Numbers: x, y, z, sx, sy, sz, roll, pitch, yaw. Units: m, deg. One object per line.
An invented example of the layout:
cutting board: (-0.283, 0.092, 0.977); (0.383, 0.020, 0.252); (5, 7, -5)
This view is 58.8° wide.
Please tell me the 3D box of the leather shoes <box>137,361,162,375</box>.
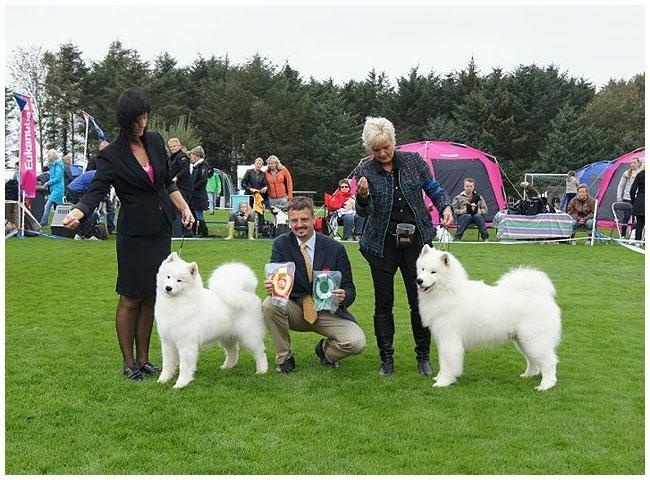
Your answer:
leather shoes: (-1.914, 1.382, 6.253); (0.288, 0.130, 0.111); (10, 18, 11)

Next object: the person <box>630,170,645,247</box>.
person: (7.163, -0.771, 13.187); (0.351, 1.694, 0.956); (5, 11, 28)

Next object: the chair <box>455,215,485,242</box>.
chair: (4.051, -0.393, 16.020); (0.882, 0.946, 0.663); (1, -13, -2)

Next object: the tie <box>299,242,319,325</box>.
tie: (-0.185, 0.498, 6.379); (0.193, 0.856, 0.074); (-5, 0, 31)

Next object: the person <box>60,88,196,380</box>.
person: (-1.988, -0.048, 6.082); (1.155, 2.977, 0.594); (-5, 11, -27)

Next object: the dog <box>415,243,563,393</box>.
dog: (1.833, 0.914, 6.455); (1.122, 1.232, 0.538); (-4, -20, 10)

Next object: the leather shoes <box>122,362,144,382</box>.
leather shoes: (-2.000, 1.390, 6.053); (0.106, 0.121, 0.261); (1, 0, -30)

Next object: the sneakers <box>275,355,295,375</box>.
sneakers: (-0.412, 1.352, 6.296); (0.244, 0.170, 0.220); (-3, 11, -17)
